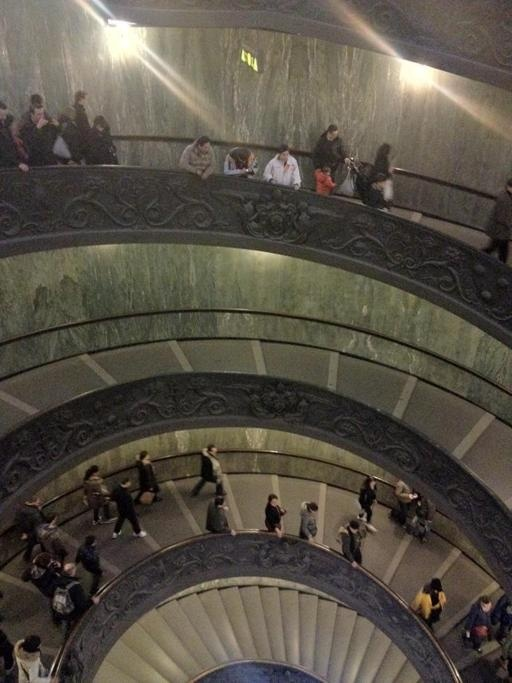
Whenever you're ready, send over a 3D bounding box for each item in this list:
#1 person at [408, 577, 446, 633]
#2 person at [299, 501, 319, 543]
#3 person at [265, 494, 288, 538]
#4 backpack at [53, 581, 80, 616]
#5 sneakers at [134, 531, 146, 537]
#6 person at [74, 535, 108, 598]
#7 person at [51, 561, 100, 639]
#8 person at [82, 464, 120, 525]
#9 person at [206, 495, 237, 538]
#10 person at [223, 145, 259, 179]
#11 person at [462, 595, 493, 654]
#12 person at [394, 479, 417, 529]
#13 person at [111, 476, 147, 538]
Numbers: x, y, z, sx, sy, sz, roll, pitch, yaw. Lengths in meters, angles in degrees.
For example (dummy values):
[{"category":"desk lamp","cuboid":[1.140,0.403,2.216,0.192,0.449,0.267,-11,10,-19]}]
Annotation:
[{"category":"person","cuboid":[3.491,5.317,10.806,0.408,0.644,1.090,1,-53,-24]},{"category":"person","cuboid":[1.128,3.988,11.708,0.426,0.835,1.318,2,-37,5]},{"category":"person","cuboid":[0.435,4.015,12.154,1.295,0.409,0.584,69,-138,-65]},{"category":"backpack","cuboid":[-3.028,4.167,8.582,0.389,0.290,0.591,-3,-51,-21]},{"category":"sneakers","cuboid":[-2.525,4.266,11.795,0.302,0.106,0.205,-1,-33,-7]},{"category":"person","cuboid":[-2.953,4.008,9.614,0.446,0.347,1.245,9,-69,6]},{"category":"person","cuboid":[-3.039,4.417,9.027,0.696,0.856,1.780,-37,-15,-35]},{"category":"person","cuboid":[-3.180,3.157,10.867,0.529,0.511,1.357,4,-68,14]},{"category":"person","cuboid":[-0.799,3.951,11.945,0.421,0.540,1.175,-24,-20,-16]},{"category":"person","cuboid":[-0.344,-3.775,11.240,0.750,1.182,0.733,-3,-93,-4]},{"category":"person","cuboid":[4.293,5.552,10.543,0.629,0.622,1.569,-23,-47,-3]},{"category":"person","cuboid":[3.657,4.052,13.255,0.679,0.683,1.764,-63,-19,-23]},{"category":"person","cuboid":[-2.624,3.472,11.025,0.653,0.391,1.462,11,-68,13]}]
